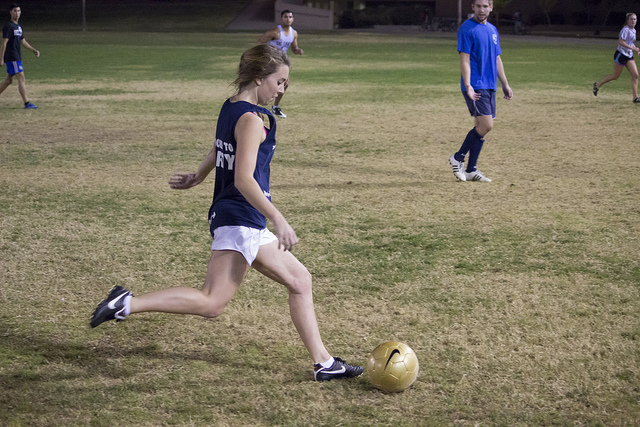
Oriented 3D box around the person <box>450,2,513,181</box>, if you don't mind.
[{"bbox_3d":[2.647,-1.985,13.916,0.810,2.869,1.214,6,17,10],"label":"person"}]
